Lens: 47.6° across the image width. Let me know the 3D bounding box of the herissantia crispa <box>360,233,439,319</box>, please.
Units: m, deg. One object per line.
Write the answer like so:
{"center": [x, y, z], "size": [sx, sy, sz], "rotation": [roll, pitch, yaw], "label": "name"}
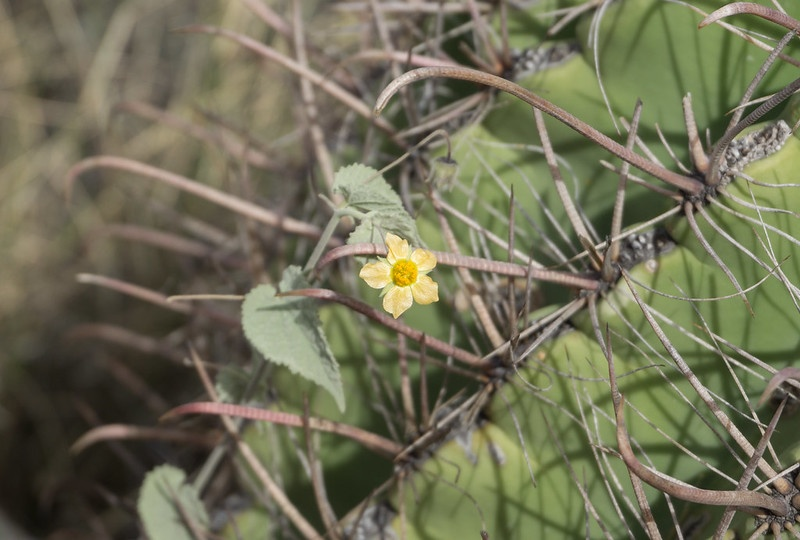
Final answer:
{"center": [0.002, 0.012, 1.277], "size": [0.088, 0.116, 0.084], "rotation": [21, 32, 37], "label": "herissantia crispa"}
